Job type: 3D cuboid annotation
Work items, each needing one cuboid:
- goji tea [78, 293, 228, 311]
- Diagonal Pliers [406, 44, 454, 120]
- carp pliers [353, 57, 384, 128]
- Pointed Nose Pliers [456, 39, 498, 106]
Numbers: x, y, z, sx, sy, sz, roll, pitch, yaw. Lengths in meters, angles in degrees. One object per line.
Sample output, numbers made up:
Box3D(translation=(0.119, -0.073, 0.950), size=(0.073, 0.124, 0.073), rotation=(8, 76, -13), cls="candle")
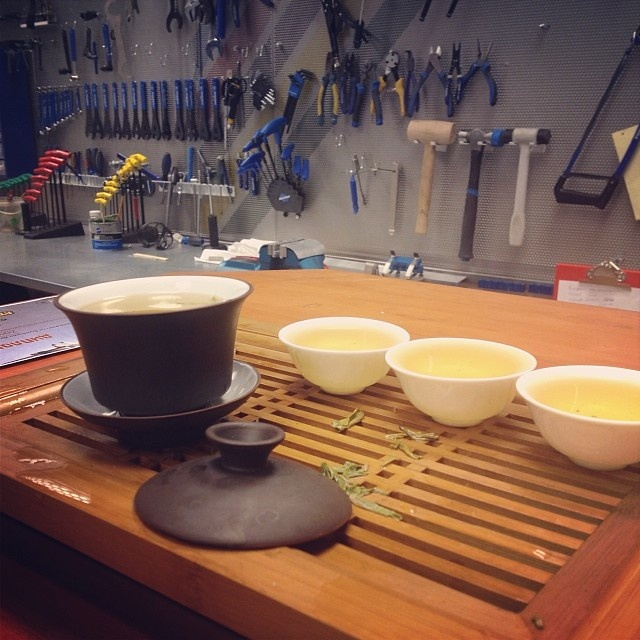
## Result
Box3D(translation=(-0.158, -0.016, 0.492), size=(0.081, 0.017, 0.109), rotation=(10, 12, 41), cls="goji tea")
Box3D(translation=(0.463, -0.999, 2.235), size=(0.198, 0.262, 0.086), rotation=(15, 28, 37), cls="Diagonal Pliers")
Box3D(translation=(0.207, -1.002, 2.366), size=(0.148, 0.237, 0.047), rotation=(19, 29, 40), cls="carp pliers")
Box3D(translation=(0.634, -0.980, 2.110), size=(0.173, 0.215, 0.095), rotation=(18, 27, 35), cls="Pointed Nose Pliers")
